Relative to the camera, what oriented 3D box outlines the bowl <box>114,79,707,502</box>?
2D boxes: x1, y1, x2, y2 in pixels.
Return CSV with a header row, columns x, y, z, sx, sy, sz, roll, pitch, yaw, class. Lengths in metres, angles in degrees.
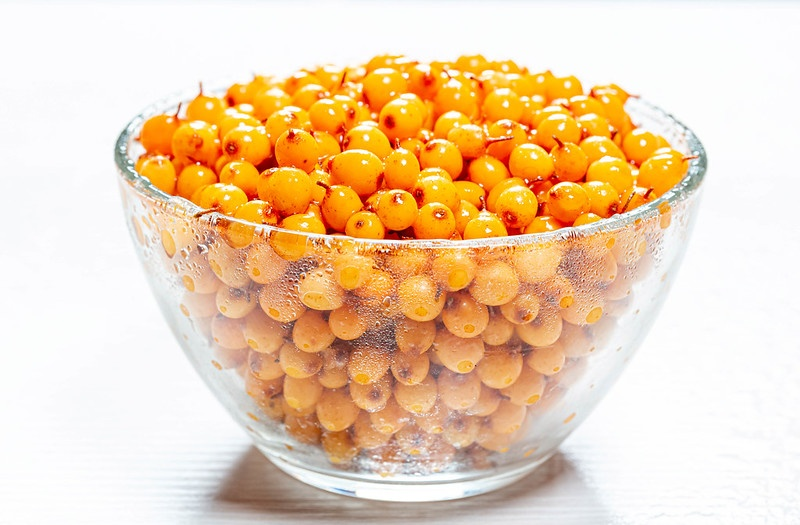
x,y,z,sx,sy,sz,roll,pitch,yaw,class
0.011,0.052,0.968,0.651,0.352,0.638,1,18,0,bowl
